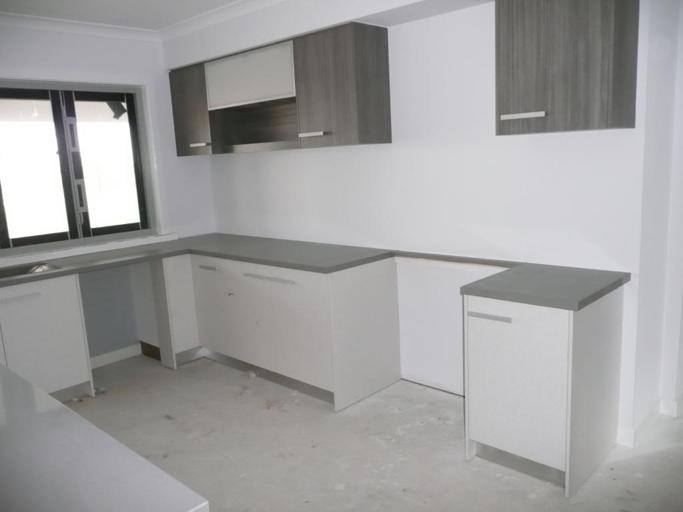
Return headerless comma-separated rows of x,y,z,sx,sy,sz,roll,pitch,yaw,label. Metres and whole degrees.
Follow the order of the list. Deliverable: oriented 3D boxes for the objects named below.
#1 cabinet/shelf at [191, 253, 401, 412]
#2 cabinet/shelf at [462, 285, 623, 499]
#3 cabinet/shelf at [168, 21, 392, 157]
-0.413,0.487,4.365,1.737,1.019,0.798,5,14,43,cabinet/shelf
1.139,0.695,3.099,0.656,1.036,0.773,6,12,44,cabinet/shelf
-0.595,-1.217,4.185,2.018,0.797,0.436,5,16,38,cabinet/shelf
